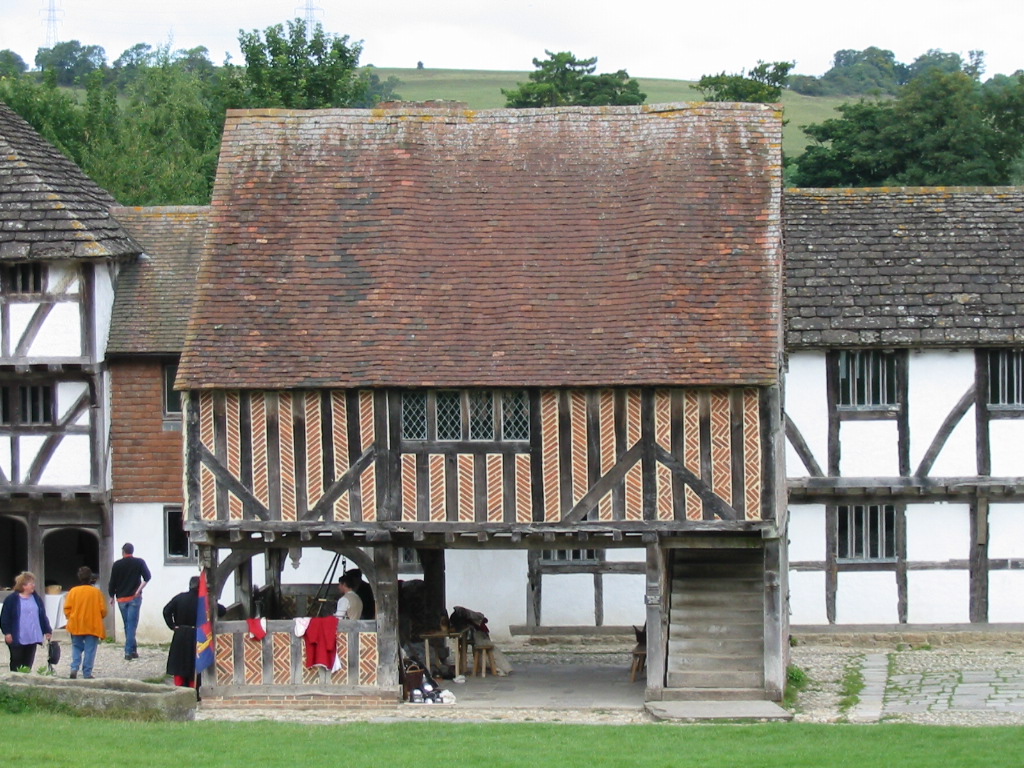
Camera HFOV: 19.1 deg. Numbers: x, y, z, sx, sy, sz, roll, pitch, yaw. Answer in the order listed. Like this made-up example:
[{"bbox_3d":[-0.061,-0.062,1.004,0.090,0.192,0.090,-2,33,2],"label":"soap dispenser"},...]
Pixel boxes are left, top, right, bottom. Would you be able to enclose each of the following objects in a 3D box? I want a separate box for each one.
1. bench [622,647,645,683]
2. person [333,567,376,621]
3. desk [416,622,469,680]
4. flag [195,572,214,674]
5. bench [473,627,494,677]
[{"bbox_3d":[2.844,6.612,71.112,0.763,0.874,0.627,3,-2,-15],"label":"bench"},{"bbox_3d":[-3.701,4.951,70.216,0.626,1.870,0.990,-3,-10,22],"label":"person"},{"bbox_3d":[-1.673,6.437,71.475,1.059,1.428,1.186,-8,-15,-8],"label":"desk"},{"bbox_3d":[-7.086,5.442,69.146,0.282,2.228,0.469,-4,-7,26],"label":"flag"},{"bbox_3d":[-0.726,6.360,71.648,0.505,1.118,0.390,1,-7,-13],"label":"bench"}]
